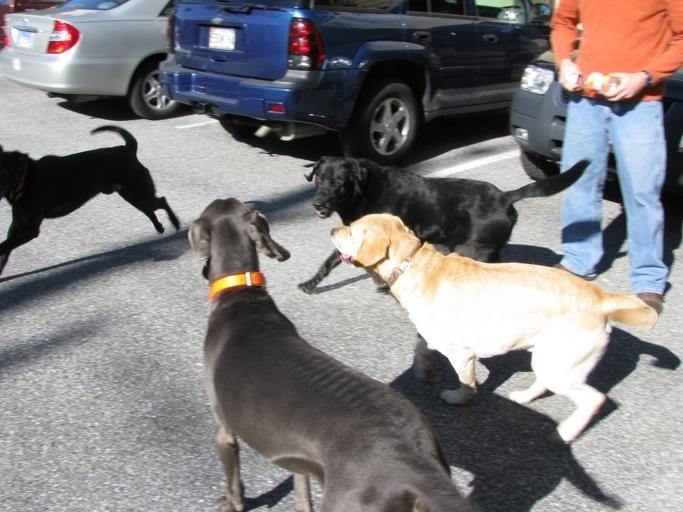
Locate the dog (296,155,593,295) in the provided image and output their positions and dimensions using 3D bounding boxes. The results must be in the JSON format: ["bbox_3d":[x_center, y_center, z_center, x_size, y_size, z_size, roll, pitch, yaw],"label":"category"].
[{"bbox_3d":[0.759,-0.327,4.174,2.330,0.704,0.795,11,90,24],"label":"dog"}]

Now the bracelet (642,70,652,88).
[{"bbox_3d":[2.000,-1.168,3.495,0.031,0.111,0.082,3,83,27],"label":"bracelet"}]
